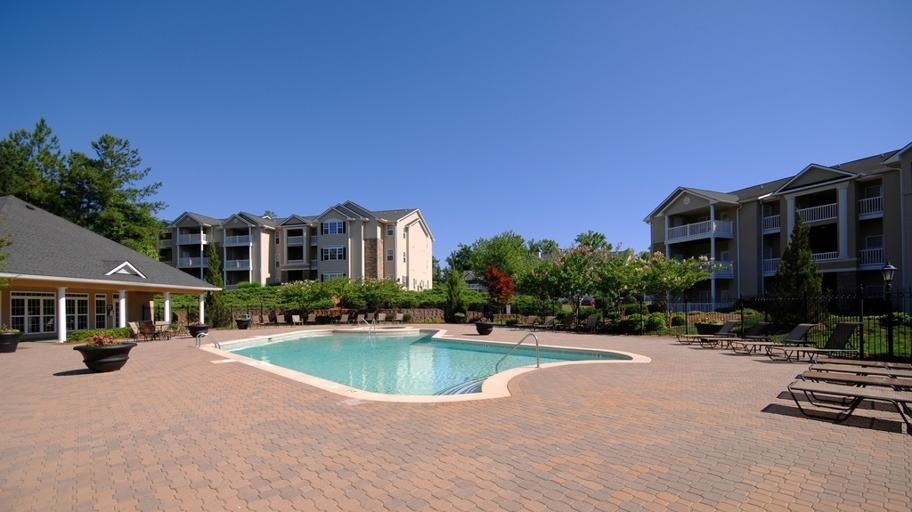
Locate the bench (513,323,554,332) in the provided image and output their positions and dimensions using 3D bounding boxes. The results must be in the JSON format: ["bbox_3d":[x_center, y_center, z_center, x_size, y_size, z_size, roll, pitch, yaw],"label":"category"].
[{"bbox_3d":[5.882,5.379,40.817,3.120,0.621,3.906,-4,-8,10],"label":"bench"}]

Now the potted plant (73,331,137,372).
[{"bbox_3d":[-16.753,4.691,26.605,2.575,1.454,2.359,2,-9,-6],"label":"potted plant"}]

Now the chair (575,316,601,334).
[{"bbox_3d":[9.377,4.858,38.332,1.443,0.815,1.477,-2,-3,41],"label":"chair"}]
